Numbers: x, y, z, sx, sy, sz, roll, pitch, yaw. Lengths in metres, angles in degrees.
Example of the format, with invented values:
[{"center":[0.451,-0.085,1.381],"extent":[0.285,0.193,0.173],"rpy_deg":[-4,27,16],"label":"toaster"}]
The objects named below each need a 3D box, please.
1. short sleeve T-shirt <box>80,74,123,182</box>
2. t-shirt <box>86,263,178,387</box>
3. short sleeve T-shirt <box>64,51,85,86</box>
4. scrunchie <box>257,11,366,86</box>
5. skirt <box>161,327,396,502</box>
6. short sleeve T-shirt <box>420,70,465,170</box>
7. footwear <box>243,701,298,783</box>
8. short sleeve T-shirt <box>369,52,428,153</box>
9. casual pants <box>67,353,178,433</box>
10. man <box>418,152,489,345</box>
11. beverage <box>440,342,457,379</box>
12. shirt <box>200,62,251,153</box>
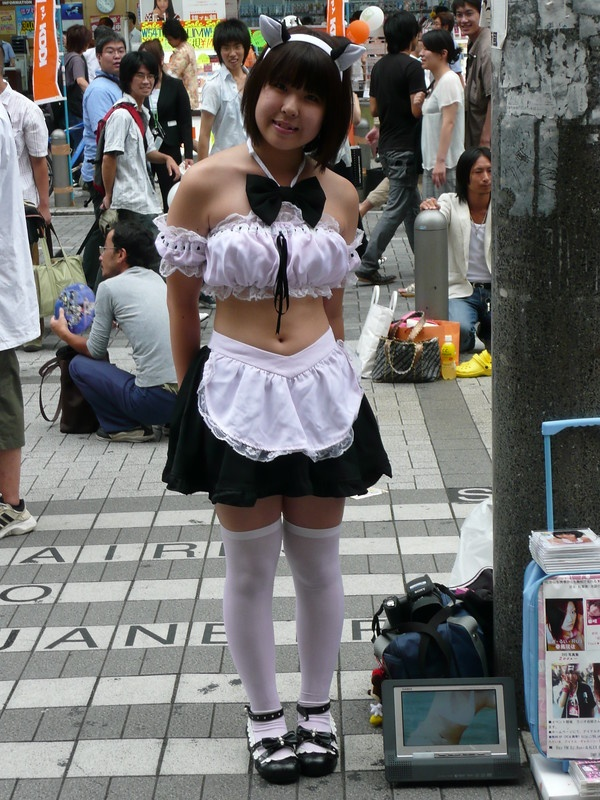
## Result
[{"center":[-2.230,-3.113,8.514],"extent":[0.394,1.088,0.803],"rpy_deg":[6,24,-11],"label":"short sleeve T-shirt"},{"center":[-1.090,-0.526,5.193],"extent":[0.659,0.947,0.822],"rpy_deg":[-5,12,-31],"label":"t-shirt"},{"center":[-4.292,-6.312,14.509],"extent":[0.284,0.539,0.537],"rpy_deg":[-24,44,-32],"label":"short sleeve T-shirt"},{"center":[0.028,-0.814,1.731],"extent":[0.227,0.155,0.200],"rpy_deg":[-2,9,0],"label":"scrunchie"},{"center":[-0.035,0.072,1.746],"extent":[0.495,0.415,0.359],"rpy_deg":[-2,3,-15],"label":"skirt"},{"center":[1.519,-3.068,8.232],"extent":[0.354,1.028,0.677],"rpy_deg":[-9,28,-4],"label":"short sleeve T-shirt"},{"center":[-0.075,0.873,1.928],"extent":[0.067,0.096,0.218],"rpy_deg":[-2,0,-10],"label":"footwear"},{"center":[1.072,-3.402,8.701],"extent":[0.666,1.047,0.345],"rpy_deg":[8,6,31],"label":"short sleeve T-shirt"},{"center":[-1.143,-0.073,5.179],"extent":[0.757,0.582,0.717],"rpy_deg":[7,13,39],"label":"casual pants"},{"center":[1.437,-1.279,6.628],"extent":[0.433,1.723,0.439],"rpy_deg":[0,8,12],"label":"man"},{"center":[1.194,-0.309,6.101],"extent":[0.123,0.299,0.101],"rpy_deg":[-1,8,7],"label":"beverage"},{"center":[-0.780,-3.069,7.989],"extent":[0.327,0.870,0.504],"rpy_deg":[32,51,32],"label":"shirt"}]
